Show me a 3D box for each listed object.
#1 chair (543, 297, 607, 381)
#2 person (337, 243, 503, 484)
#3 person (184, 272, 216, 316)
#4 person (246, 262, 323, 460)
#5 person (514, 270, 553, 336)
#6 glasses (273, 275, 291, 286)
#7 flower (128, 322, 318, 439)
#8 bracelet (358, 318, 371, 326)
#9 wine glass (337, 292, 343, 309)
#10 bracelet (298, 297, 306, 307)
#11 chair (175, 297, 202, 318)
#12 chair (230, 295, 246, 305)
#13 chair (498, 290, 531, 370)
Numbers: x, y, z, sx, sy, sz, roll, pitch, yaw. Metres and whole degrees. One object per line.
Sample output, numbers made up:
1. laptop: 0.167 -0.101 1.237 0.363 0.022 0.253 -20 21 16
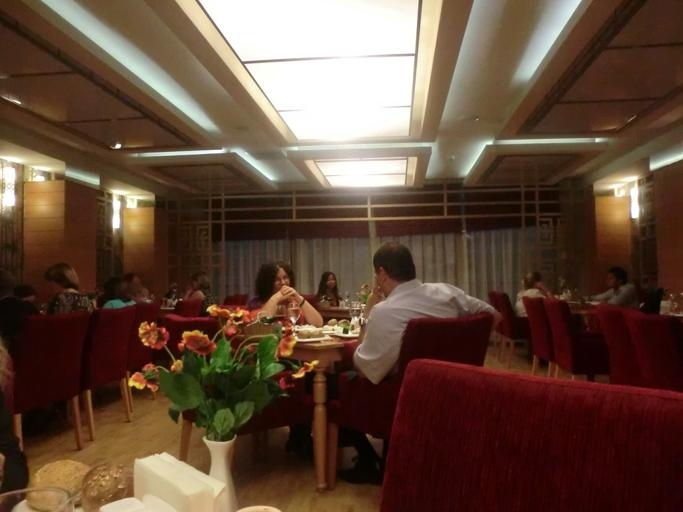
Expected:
1. chair: 2.112 0.779 4.550 0.450 0.745 0.527 -2 -1 13
2. person: 0.418 0.617 3.139 1.019 1.462 0.894 10 26 25
3. person: -2.043 0.613 7.368 0.328 0.325 0.989 0 -44 -12
4. person: -0.388 0.771 4.110 0.522 1.483 0.469 -8 16 -5
5. person: 2.672 0.623 7.087 0.428 0.790 0.566 8 5 34
6. glasses: -0.450 0.196 3.982 0.085 0.075 0.107 -6 30 -15
7. flower: -0.441 0.391 1.756 0.501 0.368 0.532 -5 -9 30
8. bracelet: 0.139 0.407 3.162 0.059 0.048 0.060 5 -5 -26
9. wine glass: -0.015 0.618 6.770 0.077 0.158 0.082 0 -9 3
10. bracelet: -0.296 0.357 3.886 0.059 0.049 0.061 0 -2 -7
11. chair: -1.587 0.555 5.269 0.252 0.175 0.448 -2 -2 -21
12. chair: -1.468 0.632 7.252 0.184 0.210 0.195 -1 2 6
13. chair: 2.222 0.898 6.589 0.468 0.798 0.562 0 1 -3
